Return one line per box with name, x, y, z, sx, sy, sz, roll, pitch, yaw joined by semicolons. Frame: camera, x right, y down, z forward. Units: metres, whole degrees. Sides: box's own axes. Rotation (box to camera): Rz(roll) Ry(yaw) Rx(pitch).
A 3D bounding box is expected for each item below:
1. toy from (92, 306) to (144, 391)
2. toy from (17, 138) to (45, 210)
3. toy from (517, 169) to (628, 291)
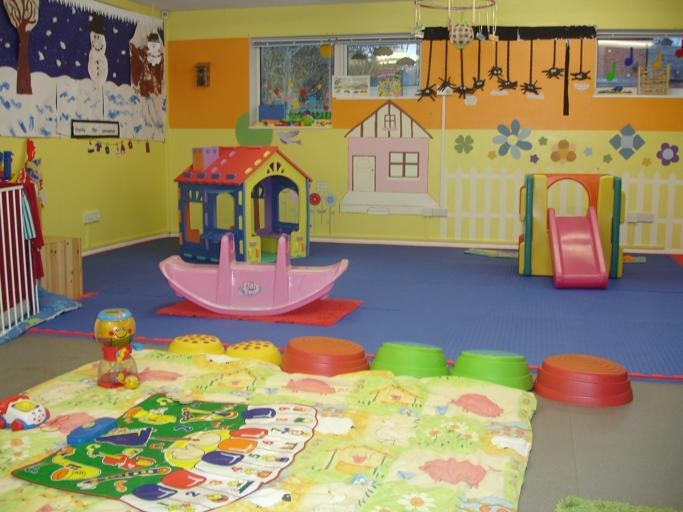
toy;-1.249;0.493;3.127;0.217;0.411;0.284;-4;12;-24
toy;-2.957;-0.759;5.377;0.200;0.668;0.279;6;11;19
toy;2.399;-0.319;5.924;0.828;0.901;1.292;1;15;9
